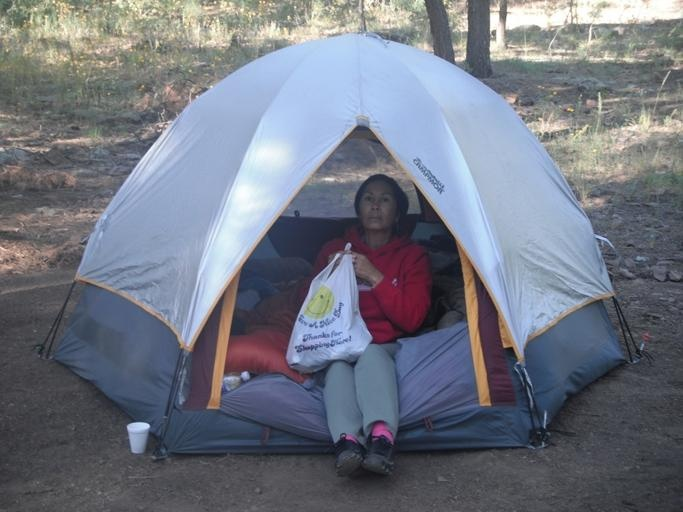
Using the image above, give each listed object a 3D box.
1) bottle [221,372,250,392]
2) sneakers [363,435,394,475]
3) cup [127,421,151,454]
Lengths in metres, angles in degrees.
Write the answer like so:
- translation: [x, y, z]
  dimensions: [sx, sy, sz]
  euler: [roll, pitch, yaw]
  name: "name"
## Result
- translation: [-0.883, 1.050, 6.148]
  dimensions: [0.165, 0.074, 0.139]
  euler: [-6, 2, 4]
  name: "bottle"
- translation: [0.292, 1.550, 5.748]
  dimensions: [0.217, 0.118, 0.295]
  euler: [3, 47, 10]
  name: "sneakers"
- translation: [-1.669, 1.503, 6.186]
  dimensions: [0.213, 0.250, 0.225]
  euler: [3, 6, 0]
  name: "cup"
